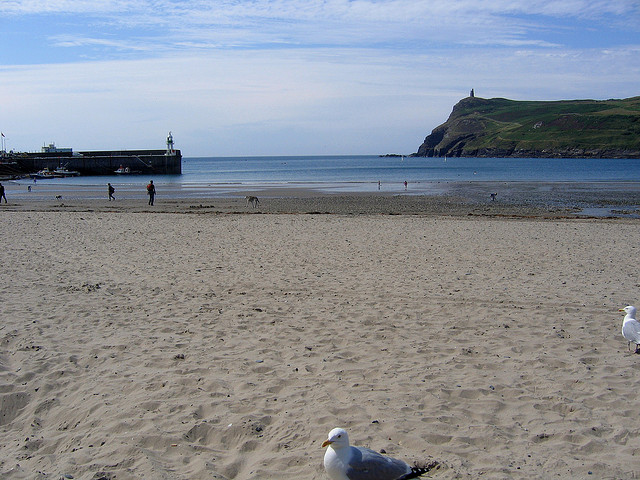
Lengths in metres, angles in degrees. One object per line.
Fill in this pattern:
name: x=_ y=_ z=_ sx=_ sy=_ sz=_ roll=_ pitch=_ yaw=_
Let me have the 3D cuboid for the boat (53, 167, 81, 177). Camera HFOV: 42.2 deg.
boat: x=-29.726 y=-8.349 z=97.222 sx=3.578 sy=0.938 sz=1.519 roll=3 pitch=4 yaw=-4

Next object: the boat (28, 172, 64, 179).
boat: x=-29.948 y=-7.397 z=91.145 sx=1.228 sy=0.552 sz=2.647 roll=0 pitch=4 yaw=40

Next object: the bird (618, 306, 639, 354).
bird: x=7.005 y=2.014 z=18.810 sx=0.441 sy=0.952 sz=0.868 roll=3 pitch=13 yaw=13

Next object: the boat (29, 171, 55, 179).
boat: x=-30.360 y=-7.176 z=90.809 sx=2.650 sy=0.630 sz=1.169 roll=2 pitch=2 yaw=-21
